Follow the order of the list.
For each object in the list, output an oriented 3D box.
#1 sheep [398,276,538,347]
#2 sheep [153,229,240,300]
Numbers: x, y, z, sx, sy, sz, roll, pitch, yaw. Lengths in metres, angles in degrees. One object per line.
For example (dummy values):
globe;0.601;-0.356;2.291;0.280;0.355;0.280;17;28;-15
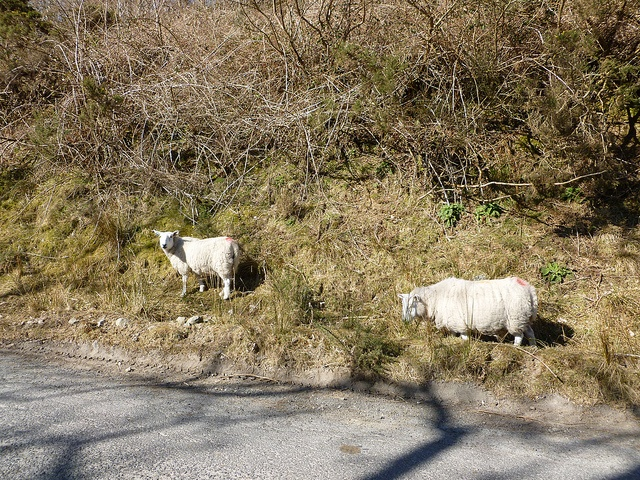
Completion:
sheep;1.946;1.011;8.571;1.979;0.750;1.231;-4;65;14
sheep;-2.018;0.370;9.813;1.430;1.125;0.508;0;4;10
